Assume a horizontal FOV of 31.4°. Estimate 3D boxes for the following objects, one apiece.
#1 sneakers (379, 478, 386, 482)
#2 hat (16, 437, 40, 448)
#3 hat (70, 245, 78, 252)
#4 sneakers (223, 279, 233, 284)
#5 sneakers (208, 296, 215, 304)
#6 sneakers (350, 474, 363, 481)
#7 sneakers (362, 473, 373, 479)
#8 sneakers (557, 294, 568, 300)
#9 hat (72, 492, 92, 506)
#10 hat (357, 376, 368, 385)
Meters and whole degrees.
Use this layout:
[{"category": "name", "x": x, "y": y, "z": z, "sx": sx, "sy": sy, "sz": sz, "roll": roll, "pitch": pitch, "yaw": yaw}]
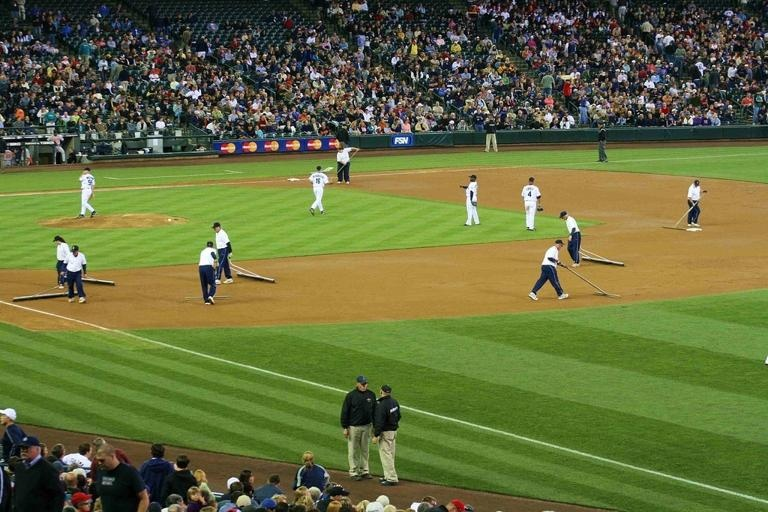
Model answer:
[{"category": "sneakers", "x": -0.085, "y": 6.404, "z": 39.118, "sx": 0.136, "sy": 0.120, "sz": 0.391, "roll": 0, "pitch": 4, "yaw": -8}, {"category": "hat", "x": -9.207, "y": 4.818, "z": 35.147, "sx": 0.528, "sy": 0.273, "sz": 0.689, "roll": -4, "pitch": -10, "yaw": 35}, {"category": "hat", "x": -11.519, "y": -0.238, "z": 50.414, "sx": 0.236, "sy": 0.244, "sz": 0.259, "roll": 8, "pitch": 32, "yaw": -15}, {"category": "sneakers", "x": -6.010, "y": 0.971, "z": 52.149, "sx": 0.337, "sy": 0.213, "sz": 0.416, "roll": 0, "pitch": 5, "yaw": -10}, {"category": "sneakers", "x": -6.327, "y": 1.639, "z": 49.579, "sx": 0.153, "sy": 0.330, "sz": 0.157, "roll": -30, "pitch": -2, "yaw": 0}, {"category": "sneakers", "x": -0.836, "y": 6.372, "z": 39.204, "sx": 0.263, "sy": 0.152, "sz": 0.190, "roll": -17, "pitch": 11, "yaw": -35}, {"category": "sneakers", "x": -0.517, "y": 6.348, "z": 39.303, "sx": 0.289, "sy": 0.090, "sz": 0.121, "roll": -2, "pitch": 0, "yaw": 38}, {"category": "sneakers", "x": 6.560, "y": 1.511, "z": 50.225, "sx": 0.384, "sy": 0.140, "sz": 0.217, "roll": -16, "pitch": -30, "yaw": 7}, {"category": "hat", "x": -7.902, "y": 6.319, "z": 35.438, "sx": 0.508, "sy": 0.177, "sz": 0.299, "roll": -4, "pitch": 12, "yaw": -11}, {"category": "hat", "x": -0.735, "y": 3.629, "z": 39.510, "sx": 0.331, "sy": 0.170, "sz": 0.429, "roll": -4, "pitch": 5, "yaw": -39}]
